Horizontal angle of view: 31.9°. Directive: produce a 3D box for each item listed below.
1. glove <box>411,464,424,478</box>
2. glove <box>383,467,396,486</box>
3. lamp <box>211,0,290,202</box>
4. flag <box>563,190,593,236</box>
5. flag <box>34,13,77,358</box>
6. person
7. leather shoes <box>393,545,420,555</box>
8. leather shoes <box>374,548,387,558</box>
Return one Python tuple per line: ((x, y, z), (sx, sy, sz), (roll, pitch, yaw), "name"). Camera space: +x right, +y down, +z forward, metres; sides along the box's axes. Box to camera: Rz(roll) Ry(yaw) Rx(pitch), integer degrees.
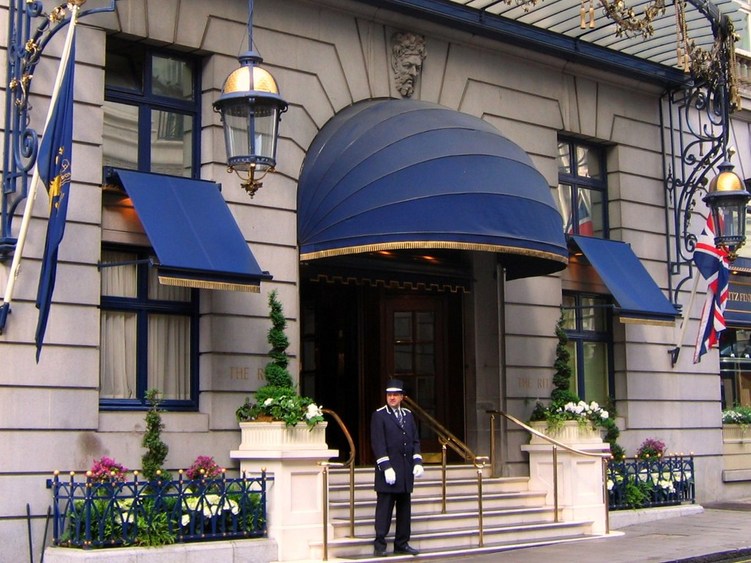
((0.734, 3.368, 23.367), (0.179, 0.291, 0.139), (1, -1, -2), "glove")
((0.242, 3.432, 23.039), (0.196, 0.319, 0.194), (-3, -8, -1), "glove")
((-2.242, -3.426, 23.349), (1.084, 3.774, 1.898), (-2, -8, -7), "lamp")
((4.494, -1.507, 29.632), (0.048, 1.123, 0.939), (-12, -16, 42), "flag")
((-5.307, -1.384, 21.803), (0.760, 5.273, 0.443), (-8, -10, 34), "flag")
((0.342, 3.292, 23.275), (0.908, 3.088, 0.544), (-1, -8, -15), "person")
((0.521, 4.737, 23.105), (0.341, 0.170, 0.183), (-3, -5, 5), "leather shoes")
((0.069, 4.694, 22.908), (0.219, 0.231, 0.157), (-3, -9, -2), "leather shoes")
